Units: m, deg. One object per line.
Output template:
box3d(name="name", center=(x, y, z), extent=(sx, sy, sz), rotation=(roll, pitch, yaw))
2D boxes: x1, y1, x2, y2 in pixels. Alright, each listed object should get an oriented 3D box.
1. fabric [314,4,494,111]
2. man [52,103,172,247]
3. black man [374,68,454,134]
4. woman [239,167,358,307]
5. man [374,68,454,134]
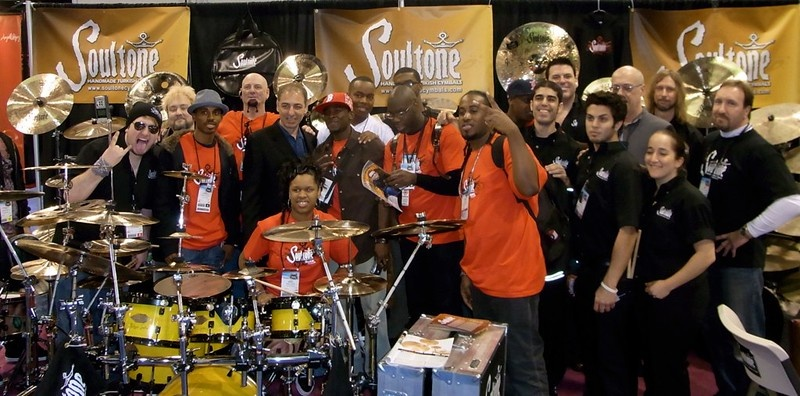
box3d(name="fabric", center=(0.166, -2.431, 10.406), extent=(2.783, 1.462, 0.186), rotation=(-1, 1, 5))
box3d(name="man", center=(-4.460, -0.238, 8.914), extent=(1.624, 1.475, 1.454), rotation=(-25, 7, -23))
box3d(name="black man", center=(0.273, -1.512, 9.494), extent=(1.395, 0.806, 0.671), rotation=(-13, -15, 34))
box3d(name="woman", center=(-1.278, 0.539, 8.090), extent=(1.802, 2.061, 1.281), rotation=(1, 34, -16))
box3d(name="man", center=(0.273, -1.512, 9.494), extent=(1.395, 0.806, 0.671), rotation=(-13, -15, 34))
